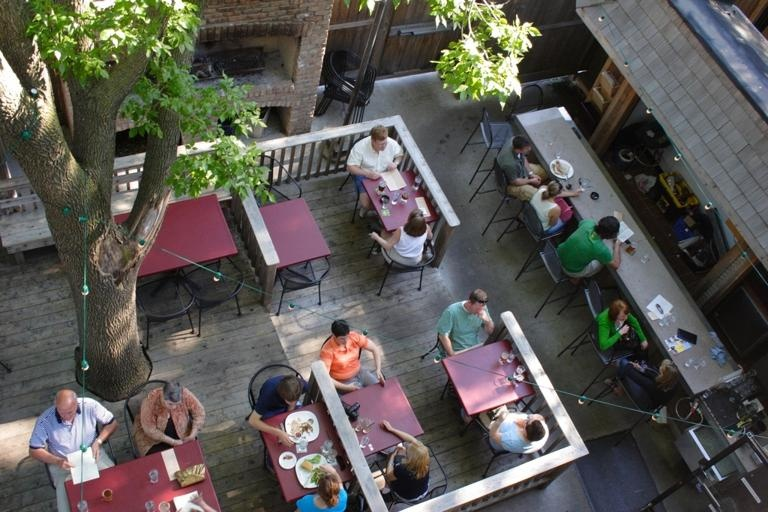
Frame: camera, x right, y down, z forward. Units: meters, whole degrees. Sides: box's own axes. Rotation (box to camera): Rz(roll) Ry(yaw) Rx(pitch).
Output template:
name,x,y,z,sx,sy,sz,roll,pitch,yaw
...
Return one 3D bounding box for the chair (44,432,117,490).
name,x,y,z,sx,sy,sz,roll,pitch,yaw
chair,-3.688,2.482,7.741,0.487,0.773,0.575,-22,95,-28

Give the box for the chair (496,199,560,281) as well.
name,x,y,z,sx,sy,sz,roll,pitch,yaw
chair,2.568,-0.220,11.344,0.726,1.118,0.626,-23,65,-11

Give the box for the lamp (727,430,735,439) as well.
name,x,y,z,sx,sy,sz,roll,pitch,yaw
lamp,5.383,2.778,9.967,0.067,0.115,0.124,6,79,17

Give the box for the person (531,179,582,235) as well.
name,x,y,z,sx,sy,sz,roll,pitch,yaw
person,2.926,-0.850,10.957,0.496,0.832,0.377,-27,83,-3

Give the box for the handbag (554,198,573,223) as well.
name,x,y,z,sx,sy,sz,roll,pitch,yaw
handbag,3.070,-0.794,11.035,0.193,0.333,0.361,-27,78,-6

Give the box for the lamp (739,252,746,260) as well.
name,x,y,z,sx,sy,sz,roll,pitch,yaw
lamp,6.102,-0.011,10.912,0.082,0.069,0.065,23,41,33

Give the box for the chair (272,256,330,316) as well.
name,x,y,z,sx,sy,sz,roll,pitch,yaw
chair,-1.200,0.326,9.947,0.892,1.094,0.870,-8,77,-24

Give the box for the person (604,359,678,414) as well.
name,x,y,z,sx,sy,sz,roll,pitch,yaw
person,4.072,1.825,9.924,0.678,0.964,0.822,0,42,-22

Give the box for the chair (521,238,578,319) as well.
name,x,y,z,sx,sy,sz,roll,pitch,yaw
chair,2.899,0.457,11.169,0.671,1.100,0.652,-13,65,-11

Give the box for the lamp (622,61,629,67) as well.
name,x,y,z,sx,sy,sz,roll,pitch,yaw
lamp,4.218,-3.352,11.161,0.058,0.034,0.090,4,84,11

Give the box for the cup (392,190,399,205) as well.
name,x,y,z,sx,sy,sz,roll,pitch,yaw
cup,0.187,-0.943,10.331,0.098,0.092,0.228,7,69,-2

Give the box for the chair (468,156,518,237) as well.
name,x,y,z,sx,sy,sz,roll,pitch,yaw
chair,2.035,-1.043,11.913,0.705,1.243,0.698,-12,68,-6

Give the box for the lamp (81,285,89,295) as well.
name,x,y,z,sx,sy,sz,roll,pitch,yaw
lamp,-3.637,0.421,7.801,0.092,0.094,0.126,6,87,-18

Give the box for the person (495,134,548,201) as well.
name,x,y,z,sx,sy,sz,roll,pitch,yaw
person,2.454,-1.576,11.391,0.714,1.214,0.641,0,75,-2

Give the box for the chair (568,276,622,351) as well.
name,x,y,z,sx,sy,sz,roll,pitch,yaw
chair,3.467,1.001,10.669,0.704,1.070,0.620,-3,52,-7

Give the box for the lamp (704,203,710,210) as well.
name,x,y,z,sx,sy,sz,roll,pitch,yaw
lamp,6.076,-0.944,12.082,0.113,0.031,0.113,4,92,19

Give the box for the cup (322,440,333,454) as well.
name,x,y,z,sx,sy,sz,roll,pitch,yaw
cup,-0.727,2.471,8.268,0.128,0.133,0.121,12,47,-14

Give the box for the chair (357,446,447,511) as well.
name,x,y,z,sx,sy,sz,roll,pitch,yaw
chair,0.174,2.967,8.463,0.519,1.031,0.627,-23,60,-23

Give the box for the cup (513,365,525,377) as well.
name,x,y,z,sx,sy,sz,roll,pitch,yaw
cup,1.949,1.662,9.232,0.136,0.141,0.246,9,22,32

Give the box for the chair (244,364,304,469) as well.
name,x,y,z,sx,sy,sz,roll,pitch,yaw
chair,-1.456,2.171,8.422,0.681,1.099,0.837,-25,72,-27

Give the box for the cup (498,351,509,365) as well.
name,x,y,z,sx,sy,sz,roll,pitch,yaw
cup,1.729,1.489,9.345,0.149,0.149,0.114,31,70,20

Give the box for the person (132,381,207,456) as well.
name,x,y,z,sx,sy,sz,roll,pitch,yaw
person,-2.768,2.115,8.177,0.786,1.189,0.707,-7,60,-37

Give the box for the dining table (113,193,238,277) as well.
name,x,y,z,sx,sy,sz,roll,pitch,yaw
dining table,-2.942,-0.129,9.601,1.306,0.937,1.136,-15,57,-19

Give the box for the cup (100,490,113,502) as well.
name,x,y,z,sx,sy,sz,roll,pitch,yaw
cup,-3.228,2.783,7.447,0.127,0.063,0.133,5,53,-6

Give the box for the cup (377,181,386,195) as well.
name,x,y,z,sx,sy,sz,roll,pitch,yaw
cup,-0.050,-1.104,10.399,0.175,0.192,0.176,1,52,-1

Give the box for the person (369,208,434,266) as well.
name,x,y,z,sx,sy,sz,roll,pitch,yaw
person,0.294,-0.288,10.101,0.487,0.871,0.534,-18,63,-16

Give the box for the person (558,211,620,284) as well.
name,x,y,z,sx,sy,sz,roll,pitch,yaw
person,3.424,-0.090,10.666,1.021,1.380,0.583,-5,53,-13

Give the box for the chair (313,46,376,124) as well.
name,x,y,z,sx,sy,sz,roll,pitch,yaw
chair,-0.674,-3.390,12.788,1.149,1.467,1.360,12,63,0

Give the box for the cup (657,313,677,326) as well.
name,x,y,z,sx,sy,sz,roll,pitch,yaw
cup,4.663,1.068,10.557,0.269,0.278,0.162,-11,73,9

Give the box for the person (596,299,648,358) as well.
name,x,y,z,sx,sy,sz,roll,pitch,yaw
person,3.749,1.171,10.135,0.452,0.776,0.419,17,79,26

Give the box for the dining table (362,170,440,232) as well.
name,x,y,z,sx,sy,sz,roll,pitch,yaw
dining table,0.188,-0.811,10.650,0.925,0.735,1.027,-13,74,-22

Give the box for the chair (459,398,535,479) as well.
name,x,y,z,sx,sy,sz,roll,pitch,yaw
chair,1.745,2.421,8.923,0.780,1.352,0.856,-28,94,-20

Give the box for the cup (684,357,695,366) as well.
name,x,y,z,sx,sy,sz,roll,pitch,yaw
cup,4.863,1.707,10.195,0.091,0.048,0.166,39,70,11

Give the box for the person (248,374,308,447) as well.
name,x,y,z,sx,sy,sz,roll,pitch,yaw
person,-1.366,2.043,8.317,0.608,0.846,0.577,-31,76,-24

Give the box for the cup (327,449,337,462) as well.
name,x,y,z,sx,sy,sz,roll,pitch,yaw
cup,-0.664,2.553,8.157,0.113,0.115,0.112,3,48,-4

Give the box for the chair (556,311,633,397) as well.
name,x,y,z,sx,sy,sz,roll,pitch,yaw
chair,3.469,1.671,10.506,0.801,1.208,0.717,-5,65,-43

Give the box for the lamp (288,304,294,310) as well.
name,x,y,z,sx,sy,sz,roll,pitch,yaw
lamp,-1.461,0.796,10.038,0.096,0.025,0.107,36,57,16

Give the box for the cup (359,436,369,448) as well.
name,x,y,z,sx,sy,sz,roll,pitch,yaw
cup,-0.258,2.454,8.440,0.074,0.046,0.136,6,50,-4

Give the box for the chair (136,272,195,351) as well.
name,x,y,z,sx,sy,sz,roll,pitch,yaw
chair,-3.213,0.841,9.339,0.807,1.026,0.786,-14,82,-20

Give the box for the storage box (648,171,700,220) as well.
name,x,y,z,sx,sy,sz,roll,pitch,yaw
storage box,5.686,-1.155,12.511,0.426,0.543,0.808,-21,62,-10

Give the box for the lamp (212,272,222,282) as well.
name,x,y,z,sx,sy,sz,roll,pitch,yaw
lamp,-2.524,0.312,9.636,0.105,0.108,0.068,-16,74,-23

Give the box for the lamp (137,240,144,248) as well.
name,x,y,z,sx,sy,sz,roll,pitch,yaw
lamp,-3.039,-0.158,8.021,0.041,0.099,0.085,21,53,8

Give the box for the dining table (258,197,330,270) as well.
name,x,y,z,sx,sy,sz,roll,pitch,yaw
dining table,-1.399,-0.363,9.887,0.776,0.211,1.159,-15,58,-19

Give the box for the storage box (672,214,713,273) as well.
name,x,y,z,sx,sy,sz,roll,pitch,yaw
storage box,5.885,-0.309,11.998,0.882,0.299,0.964,-5,82,5

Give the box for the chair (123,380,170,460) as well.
name,x,y,z,sx,sy,sz,roll,pitch,yaw
chair,-3.044,2.148,8.220,0.607,0.996,0.700,-19,68,-18

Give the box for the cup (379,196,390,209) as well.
name,x,y,z,sx,sy,sz,roll,pitch,yaw
cup,0.004,-0.870,10.257,0.135,0.075,0.227,3,54,-7

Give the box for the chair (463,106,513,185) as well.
name,x,y,z,sx,sy,sz,roll,pitch,yaw
chair,1.970,-2.078,12.346,0.820,1.470,0.812,-11,70,-15

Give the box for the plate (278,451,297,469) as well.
name,x,y,z,sx,sy,sz,roll,pitch,yaw
plate,-1.219,2.578,8.065,0.227,0.040,0.212,24,54,8

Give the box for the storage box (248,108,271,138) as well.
name,x,y,z,sx,sy,sz,roll,pitch,yaw
storage box,-2.384,-2.730,12.380,0.289,0.604,0.801,4,53,-5

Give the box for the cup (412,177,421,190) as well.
name,x,y,z,sx,sy,sz,roll,pitch,yaw
cup,0.530,-1.186,10.495,0.113,0.202,0.122,3,55,-4

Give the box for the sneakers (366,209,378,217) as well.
name,x,y,z,sx,sy,sz,roll,pitch,yaw
sneakers,-0.212,-0.742,10.995,0.130,0.109,0.149,-5,94,0

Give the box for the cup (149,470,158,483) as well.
name,x,y,z,sx,sy,sz,roll,pitch,yaw
cup,-2.742,2.613,7.611,0.106,0.105,0.147,-11,56,-17

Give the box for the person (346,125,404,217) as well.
name,x,y,z,sx,sy,sz,roll,pitch,yaw
person,-0.102,-1.429,10.742,0.994,1.674,0.897,-26,48,-29

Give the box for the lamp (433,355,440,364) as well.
name,x,y,z,sx,sy,sz,roll,pitch,yaw
lamp,0.800,1.574,9.829,0.087,0.102,0.162,-7,75,-1

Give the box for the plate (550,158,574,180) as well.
name,x,y,z,sx,sy,sz,roll,pitch,yaw
plate,3.189,-1.566,11.559,0.358,0.103,0.379,32,64,10

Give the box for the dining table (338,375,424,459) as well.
name,x,y,z,sx,sy,sz,roll,pitch,yaw
dining table,-0.035,2.144,8.664,1.025,0.256,0.980,-22,73,-23
